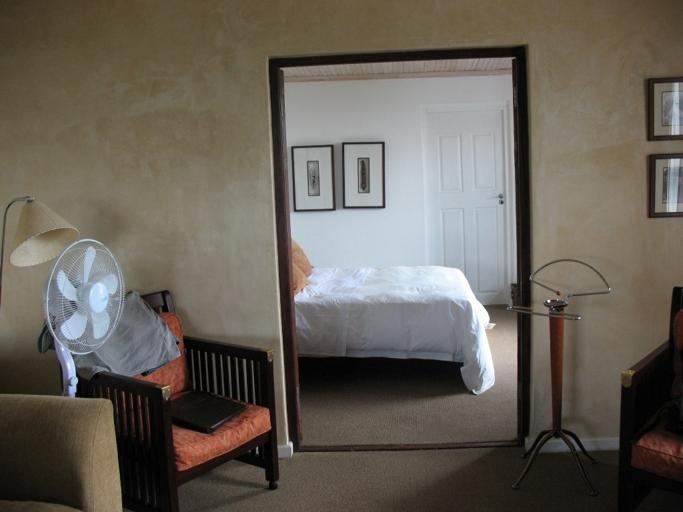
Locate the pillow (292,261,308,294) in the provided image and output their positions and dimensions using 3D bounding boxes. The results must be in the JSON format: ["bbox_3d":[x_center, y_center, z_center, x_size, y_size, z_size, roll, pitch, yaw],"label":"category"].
[{"bbox_3d":[-0.360,0.174,5.136,0.058,0.208,0.184,-21,-35,22],"label":"pillow"}]

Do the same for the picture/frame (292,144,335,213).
[{"bbox_3d":[-0.305,-0.902,6.887,0.662,1.042,0.035,0,5,3],"label":"picture/frame"}]

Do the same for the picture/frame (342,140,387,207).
[{"bbox_3d":[0.260,-0.944,6.868,0.655,1.019,0.076,0,0,1],"label":"picture/frame"}]

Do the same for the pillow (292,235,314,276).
[{"bbox_3d":[-0.370,-0.009,5.538,0.083,0.277,0.290,-22,-26,8],"label":"pillow"}]
